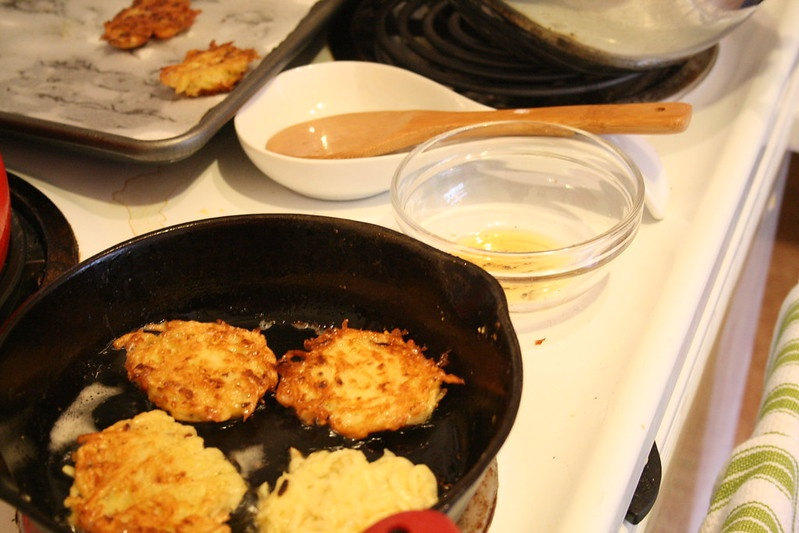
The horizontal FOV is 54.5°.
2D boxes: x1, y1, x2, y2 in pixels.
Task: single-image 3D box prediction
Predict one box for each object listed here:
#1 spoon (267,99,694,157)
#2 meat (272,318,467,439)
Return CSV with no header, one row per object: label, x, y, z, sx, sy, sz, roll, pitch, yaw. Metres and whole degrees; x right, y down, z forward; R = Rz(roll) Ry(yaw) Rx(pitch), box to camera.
spoon,0.132,-0.221,1.251,0.671,0.057,0.120,0,37,11
meat,-0.053,0.154,1.043,0.185,0.056,0.205,-38,67,-26
